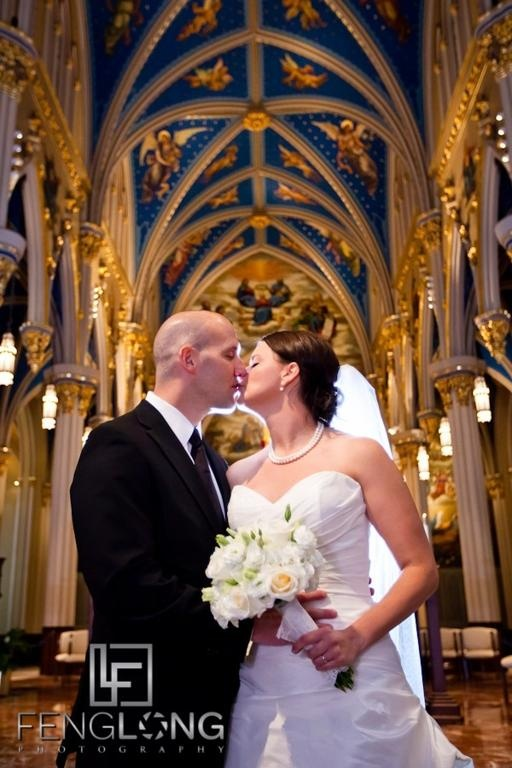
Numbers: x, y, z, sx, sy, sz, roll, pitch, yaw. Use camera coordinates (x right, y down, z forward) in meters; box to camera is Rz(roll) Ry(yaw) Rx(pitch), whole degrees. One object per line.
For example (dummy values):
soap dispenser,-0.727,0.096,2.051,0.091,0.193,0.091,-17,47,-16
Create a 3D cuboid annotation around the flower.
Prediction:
flower,0.048,0.523,1.576,0.338,0.471,0.218,-10,8,-39
